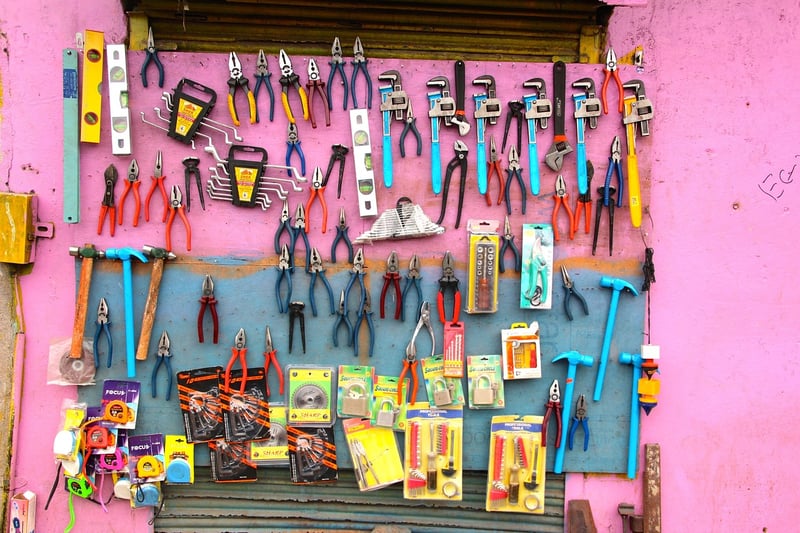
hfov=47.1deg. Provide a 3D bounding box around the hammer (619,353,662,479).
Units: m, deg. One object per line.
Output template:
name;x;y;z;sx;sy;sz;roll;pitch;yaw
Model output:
hammer;1.394;0.843;5.334;0.141;0.736;0.297;5;-1;-40

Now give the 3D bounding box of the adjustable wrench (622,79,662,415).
adjustable wrench;1.364;-0.119;5.227;0.253;1.803;0.106;2;5;8

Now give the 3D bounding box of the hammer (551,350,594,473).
hammer;0.960;0.853;5.314;0.226;0.712;0.247;0;25;3

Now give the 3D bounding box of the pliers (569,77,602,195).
pliers;1.070;-0.752;5.285;0.153;0.680;0.048;0;1;4

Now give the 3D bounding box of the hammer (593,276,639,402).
hammer;1.208;0.400;5.312;0.251;0.725;0.081;11;1;-18

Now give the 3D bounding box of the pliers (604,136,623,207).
pliers;1.234;-0.553;5.298;0.115;0.405;0.043;-1;1;4
